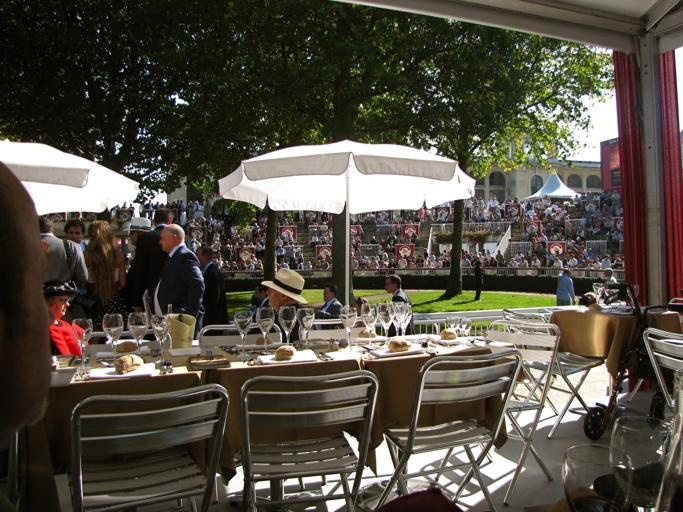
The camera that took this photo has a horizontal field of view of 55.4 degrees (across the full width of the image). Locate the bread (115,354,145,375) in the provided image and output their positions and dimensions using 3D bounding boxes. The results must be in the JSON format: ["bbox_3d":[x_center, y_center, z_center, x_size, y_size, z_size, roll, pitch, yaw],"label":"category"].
[{"bbox_3d":[-1.405,0.715,4.284,0.087,0.074,0.156,11,-1,0],"label":"bread"}]

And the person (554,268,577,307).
[{"bbox_3d":[4.294,0.603,12.361,0.288,0.716,1.196,0,0,19],"label":"person"}]

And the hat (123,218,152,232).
[{"bbox_3d":[-2.435,-0.381,7.915,0.226,0.125,0.288,6,6,26],"label":"hat"}]

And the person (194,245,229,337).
[{"bbox_3d":[-1.567,0.436,7.700,0.378,1.176,0.390,0,28,-6],"label":"person"}]

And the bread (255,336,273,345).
[{"bbox_3d":[-0.620,0.671,5.129,0.069,0.092,0.078,0,-2,15],"label":"bread"}]

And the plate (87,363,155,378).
[{"bbox_3d":[-1.436,0.754,4.247,0.443,0.048,0.289,-1,0,-12],"label":"plate"}]

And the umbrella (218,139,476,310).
[{"bbox_3d":[0.049,-0.308,6.454,2.430,1.646,2.176,0,0,20],"label":"umbrella"}]

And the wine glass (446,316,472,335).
[{"bbox_3d":[0.977,0.571,5.336,0.169,0.236,0.185,-1,0,26],"label":"wine glass"}]

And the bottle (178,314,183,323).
[{"bbox_3d":[-1.223,0.472,4.910,0.036,0.084,0.040,0,0,0],"label":"bottle"}]
